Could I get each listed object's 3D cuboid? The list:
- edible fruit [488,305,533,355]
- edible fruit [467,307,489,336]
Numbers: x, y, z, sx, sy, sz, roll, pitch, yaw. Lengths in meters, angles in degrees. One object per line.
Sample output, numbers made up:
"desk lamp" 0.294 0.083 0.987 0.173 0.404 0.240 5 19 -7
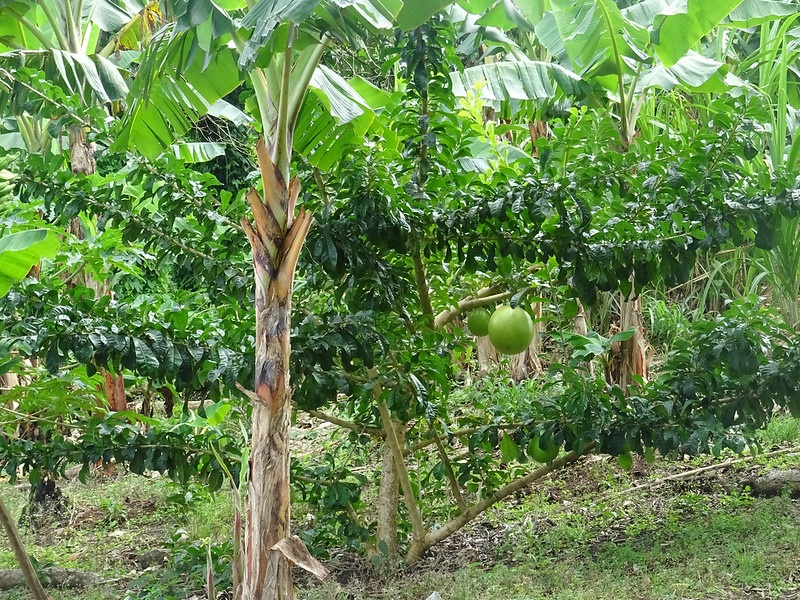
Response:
"edible fruit" 0.602 0.156 4.904 0.216 0.280 0.222 14 23 36
"edible fruit" 0.436 0.112 5.138 0.130 0.170 0.137 -2 10 -1
